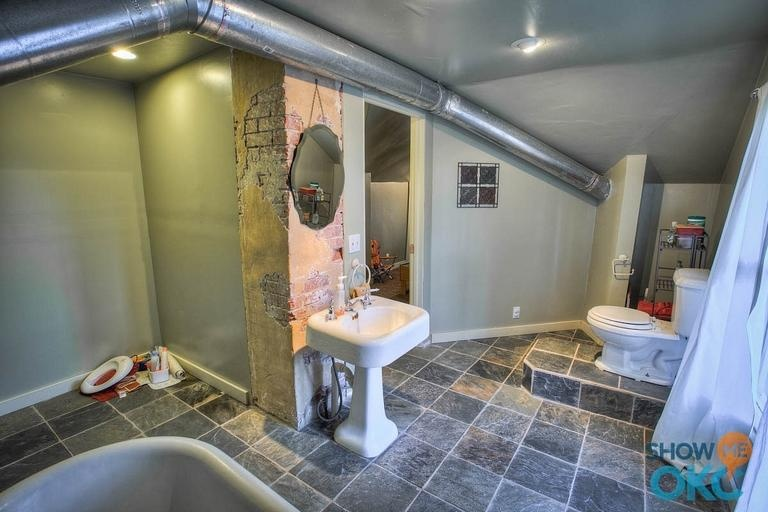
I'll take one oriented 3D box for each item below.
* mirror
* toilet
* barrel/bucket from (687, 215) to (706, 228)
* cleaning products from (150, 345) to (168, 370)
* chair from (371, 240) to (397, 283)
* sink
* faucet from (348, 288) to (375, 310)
[{"bbox_3d":[-0.557,-0.647,3.785,0.110,1.045,0.839,4,8,31],"label":"mirror"},{"bbox_3d":[2.357,0.590,4.274,0.943,1.005,0.600,10,14,32],"label":"toilet"},{"bbox_3d":[2.956,-0.328,4.448,0.123,0.099,0.134,1,13,0],"label":"barrel/bucket"},{"bbox_3d":[-2.139,0.963,4.452,0.135,0.172,0.172,-5,14,-22],"label":"cleaning products"},{"bbox_3d":[-0.009,0.074,7.906,0.502,0.555,0.428,8,5,-11],"label":"chair"},{"bbox_3d":[-0.130,0.628,3.758,0.739,0.383,0.739,11,16,39],"label":"sink"},{"bbox_3d":[-0.221,0.374,4.047,0.159,0.056,0.250,3,13,9],"label":"faucet"}]
